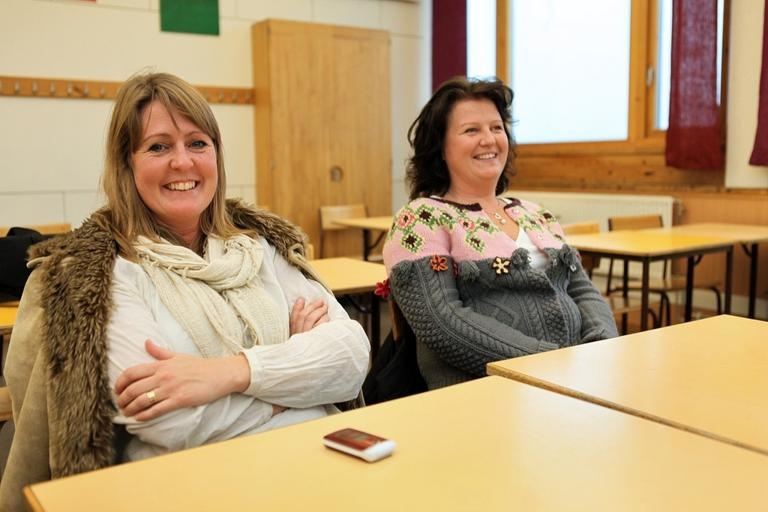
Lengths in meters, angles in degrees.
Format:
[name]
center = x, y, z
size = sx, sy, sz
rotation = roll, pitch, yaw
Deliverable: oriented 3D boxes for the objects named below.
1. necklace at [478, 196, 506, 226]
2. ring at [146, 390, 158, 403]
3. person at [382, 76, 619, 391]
[necklace]
center = 0.436, -0.179, 2.427
size = 0.085, 0.028, 0.116
rotation = -3, 44, -35
[ring]
center = -0.597, 0.363, 1.560
size = 0.028, 0.028, 0.007
rotation = 11, -16, -29
[person]
center = 0.429, -0.080, 2.465
size = 0.954, 1.266, 0.734
rotation = 2, -8, -34
